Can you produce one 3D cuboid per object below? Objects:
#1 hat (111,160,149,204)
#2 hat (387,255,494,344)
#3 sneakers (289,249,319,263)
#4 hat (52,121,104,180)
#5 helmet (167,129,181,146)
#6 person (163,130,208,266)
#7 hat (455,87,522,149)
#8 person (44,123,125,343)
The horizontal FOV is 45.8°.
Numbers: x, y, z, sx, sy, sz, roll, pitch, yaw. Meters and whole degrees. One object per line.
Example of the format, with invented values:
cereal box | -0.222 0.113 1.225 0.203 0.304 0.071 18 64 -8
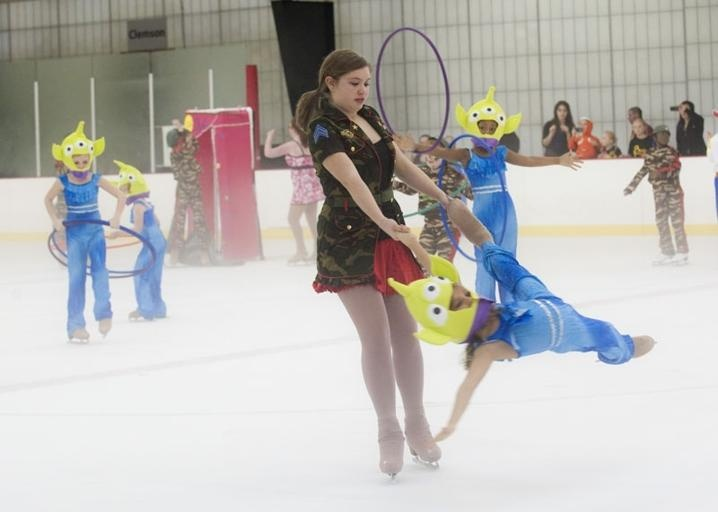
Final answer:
hat | -2.176 -0.693 8.076 0.403 0.398 0.305 -4 7 30
hat | 0.388 0.285 4.321 0.460 0.417 0.338 14 -21 19
sneakers | -0.823 0.026 11.526 0.502 0.229 0.150 2 -3 -16
hat | -2.364 -0.909 7.118 0.456 0.421 0.272 -16 32 -42
helmet | -2.463 -1.546 11.186 0.184 0.240 0.202 9 10 -25
person | -2.304 -0.787 11.346 0.411 1.817 0.479 -13 16 -43
hat | 1.029 -1.124 6.866 0.526 0.436 0.286 7 12 3
person | -2.315 -0.214 7.266 0.633 1.798 1.303 -6 12 -19
